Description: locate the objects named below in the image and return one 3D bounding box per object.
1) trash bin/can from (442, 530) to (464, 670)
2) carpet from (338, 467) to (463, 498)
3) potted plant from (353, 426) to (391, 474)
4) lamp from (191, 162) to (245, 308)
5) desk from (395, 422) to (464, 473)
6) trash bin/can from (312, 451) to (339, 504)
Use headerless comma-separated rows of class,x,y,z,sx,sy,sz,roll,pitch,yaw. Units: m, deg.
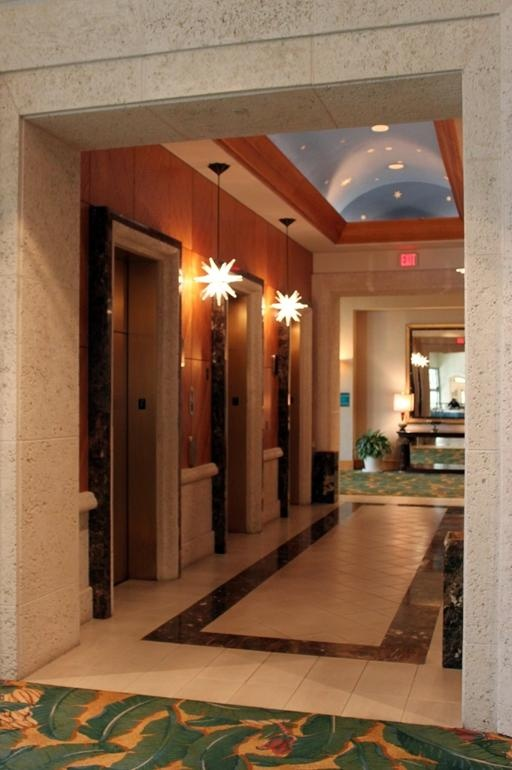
trash bin/can,0.965,1.083,3.160,0.083,0.627,0.164,0,-2,15
carpet,2.567,1.783,11.545,2.190,0.047,3.578,1,-2,15
potted plant,2.478,1.436,13.713,0.751,0.891,0.801,1,-6,-5
lamp,-0.351,-1.306,5.801,0.387,1.168,1.092,1,-2,-5
desk,3.805,1.433,13.605,1.436,0.922,0.651,2,3,30
trash bin/can,1.022,1.345,9.341,0.459,0.742,0.483,1,-6,-7
